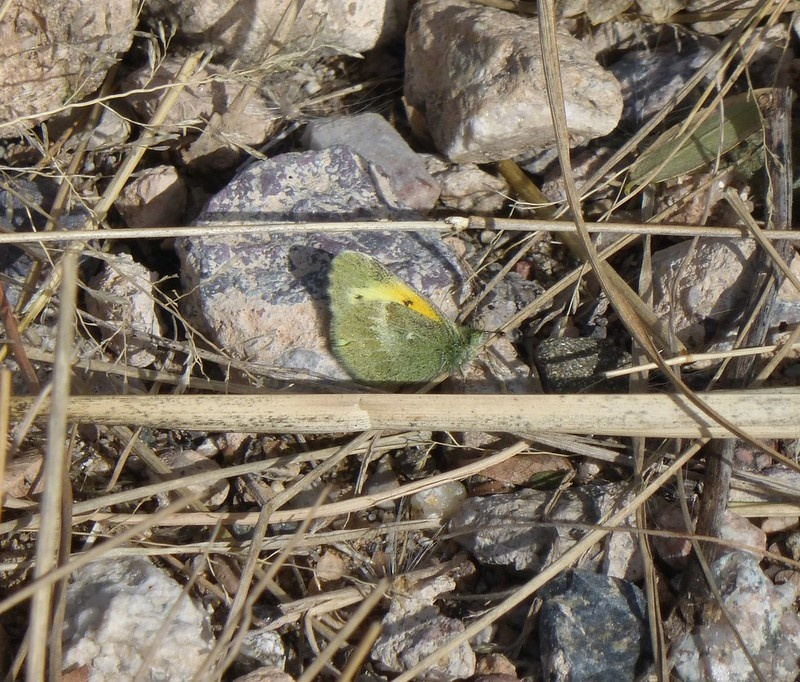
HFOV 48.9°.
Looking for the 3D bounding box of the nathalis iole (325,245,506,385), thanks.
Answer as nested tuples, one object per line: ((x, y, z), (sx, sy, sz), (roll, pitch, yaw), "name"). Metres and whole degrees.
((-0.034, -0.074, 2.608), (0.417, 0.207, 0.394), (-33, 71, -32), "nathalis iole")
